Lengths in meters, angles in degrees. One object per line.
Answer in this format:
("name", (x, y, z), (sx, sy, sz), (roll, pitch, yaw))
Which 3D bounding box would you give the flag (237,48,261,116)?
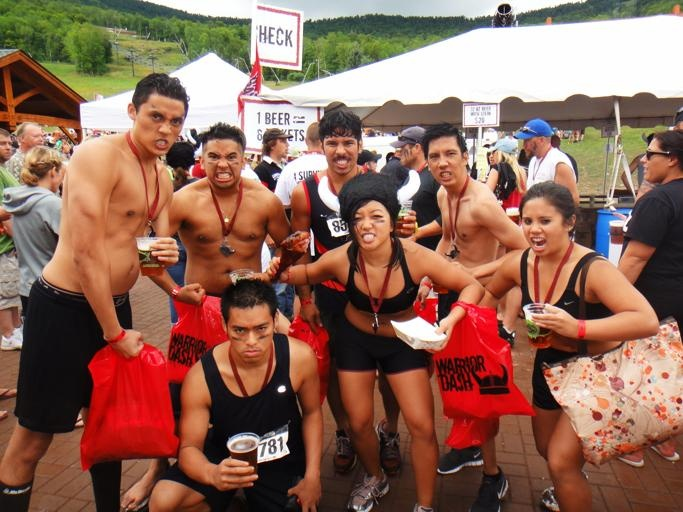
("flag", (-1.566, -2.984, 8.450), (0.416, 1.098, 1.082), (-2, 12, -10))

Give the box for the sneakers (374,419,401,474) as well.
("sneakers", (0.423, 1.684, 4.380), (0.149, 0.177, 0.429), (-1, 46, -11))

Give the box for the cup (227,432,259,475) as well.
("cup", (-0.622, 1.250, 3.161), (0.203, 0.218, 0.182), (-11, 16, -43))

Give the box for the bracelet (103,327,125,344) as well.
("bracelet", (-1.501, 0.511, 3.280), (0.096, 0.033, 0.109), (-25, 15, 24))

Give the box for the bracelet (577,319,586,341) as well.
("bracelet", (1.552, 0.476, 3.214), (0.045, 0.123, 0.119), (3, -13, 20))

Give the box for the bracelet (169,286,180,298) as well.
("bracelet", (-1.311, 0.289, 3.909), (0.062, 0.093, 0.083), (4, -1, -24))

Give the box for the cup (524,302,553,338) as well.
("cup", (1.299, 0.434, 3.378), (0.207, 0.217, 0.203), (-6, 7, 1))

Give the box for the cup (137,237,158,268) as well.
("cup", (-1.311, -0.017, 3.344), (0.181, 0.188, 0.185), (0, 5, 0))

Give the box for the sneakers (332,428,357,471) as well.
("sneakers", (0.033, 1.725, 4.425), (0.154, 0.179, 0.455), (-11, 8, 2))

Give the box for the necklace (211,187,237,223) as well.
("necklace", (-0.992, -0.397, 4.102), (0.172, 0.303, 0.058), (-14, 1, -23))

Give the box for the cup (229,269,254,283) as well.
("cup", (-0.790, 0.155, 3.888), (0.159, 0.064, 0.115), (-1, -17, -5))

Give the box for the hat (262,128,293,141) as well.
("hat", (-0.998, -1.861, 7.610), (0.390, 0.184, 0.249), (-3, 8, -2))

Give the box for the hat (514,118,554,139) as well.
("hat", (2.883, -1.849, 7.441), (0.499, 0.294, 0.325), (-7, 17, 19))
